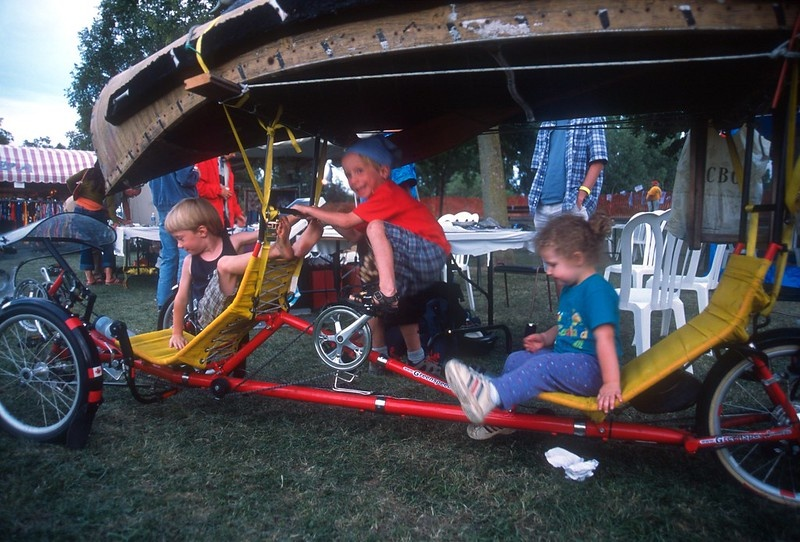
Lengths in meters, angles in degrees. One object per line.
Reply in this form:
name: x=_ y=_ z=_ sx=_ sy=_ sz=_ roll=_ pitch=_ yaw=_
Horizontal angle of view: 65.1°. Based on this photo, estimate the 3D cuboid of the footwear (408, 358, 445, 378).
footwear: x=0.178 y=0.604 z=3.882 sx=0.249 sy=0.114 sz=0.091 roll=9 pitch=1 yaw=2

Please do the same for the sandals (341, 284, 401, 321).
sandals: x=-0.148 y=0.181 z=3.519 sx=0.215 sy=0.119 sz=0.182 roll=6 pitch=7 yaw=25

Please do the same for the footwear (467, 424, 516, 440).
footwear: x=0.500 y=0.881 z=3.452 sx=0.230 sy=0.048 sz=0.137 roll=1 pitch=-2 yaw=-14

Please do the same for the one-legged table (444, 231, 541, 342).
one-legged table: x=0.969 y=0.003 z=5.391 sx=0.847 sy=0.591 sz=0.801 roll=-1 pitch=-7 yaw=44

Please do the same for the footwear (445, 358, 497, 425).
footwear: x=0.367 y=0.649 z=3.298 sx=0.237 sy=0.357 sz=0.129 roll=-18 pitch=-26 yaw=-33

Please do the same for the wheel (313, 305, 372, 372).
wheel: x=-0.329 y=0.397 z=3.680 sx=0.466 sy=0.515 sz=0.088 roll=4 pitch=7 yaw=17

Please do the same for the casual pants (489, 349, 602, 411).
casual pants: x=0.777 y=0.560 z=3.304 sx=0.475 sy=0.196 sz=0.299 roll=-7 pitch=-10 yaw=2

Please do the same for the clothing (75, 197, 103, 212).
clothing: x=-3.535 y=-0.748 z=7.152 sx=0.165 sy=0.084 sz=0.208 roll=12 pitch=-7 yaw=5

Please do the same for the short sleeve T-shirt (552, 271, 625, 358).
short sleeve T-shirt: x=0.961 y=0.242 z=3.427 sx=0.337 sy=0.488 sz=0.588 roll=4 pitch=-3 yaw=-11

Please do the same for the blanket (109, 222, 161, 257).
blanket: x=-3.494 y=-0.410 z=8.274 sx=0.612 sy=0.323 sz=0.604 roll=0 pitch=-1 yaw=-36

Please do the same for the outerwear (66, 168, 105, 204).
outerwear: x=-3.643 y=-0.991 z=7.233 sx=0.241 sy=0.457 sz=0.410 roll=-3 pitch=-7 yaw=-3
